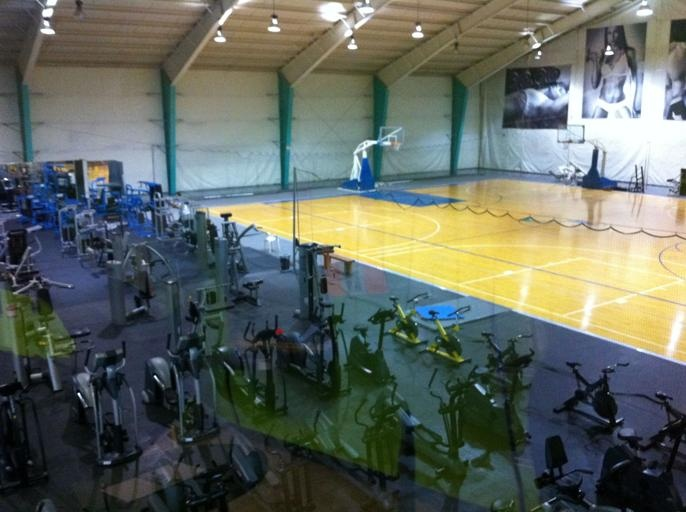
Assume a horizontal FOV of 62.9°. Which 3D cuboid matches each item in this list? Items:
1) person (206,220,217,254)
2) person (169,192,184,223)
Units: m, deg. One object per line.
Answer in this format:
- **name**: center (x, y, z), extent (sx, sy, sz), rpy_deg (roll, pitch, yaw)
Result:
- **person**: center (-4.133, -0.651, 17.659), extent (0.291, 0.983, 1.205), rpy_deg (-4, 8, -14)
- **person**: center (-6.563, -1.864, 22.021), extent (0.457, 1.689, 1.159), rpy_deg (2, 6, -15)
